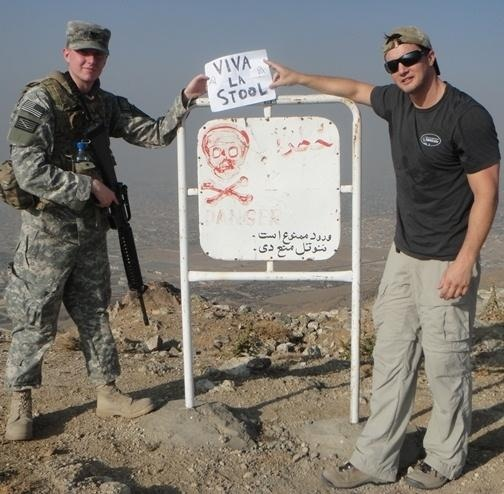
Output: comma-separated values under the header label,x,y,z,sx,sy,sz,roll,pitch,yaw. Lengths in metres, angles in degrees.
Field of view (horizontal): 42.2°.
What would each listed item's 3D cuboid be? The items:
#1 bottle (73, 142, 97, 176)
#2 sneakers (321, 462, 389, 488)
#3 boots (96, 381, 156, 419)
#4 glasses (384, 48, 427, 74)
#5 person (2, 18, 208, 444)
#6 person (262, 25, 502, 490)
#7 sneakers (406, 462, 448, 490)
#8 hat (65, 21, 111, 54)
label,x,y,z,sx,sy,sz,roll,pitch,yaw
bottle,-1.040,-0.547,4.065,0.142,0.224,0.166,0,15,-12
sneakers,0.561,1.353,3.830,0.445,0.152,0.142,4,1,-1
boots,-0.859,1.028,4.418,0.446,0.220,0.171,-6,4,14
glasses,0.849,-1.021,3.599,0.221,0.148,0.102,6,15,10
person,-1.029,-0.105,4.217,1.113,2.576,0.784,0,16,-15
person,0.857,0.079,3.818,0.648,2.618,1.062,-6,18,-32
sneakers,0.958,1.333,3.831,0.316,0.112,0.107,16,4,-10
hat,-1.004,-1.281,3.993,0.252,0.180,0.228,0,14,-11
